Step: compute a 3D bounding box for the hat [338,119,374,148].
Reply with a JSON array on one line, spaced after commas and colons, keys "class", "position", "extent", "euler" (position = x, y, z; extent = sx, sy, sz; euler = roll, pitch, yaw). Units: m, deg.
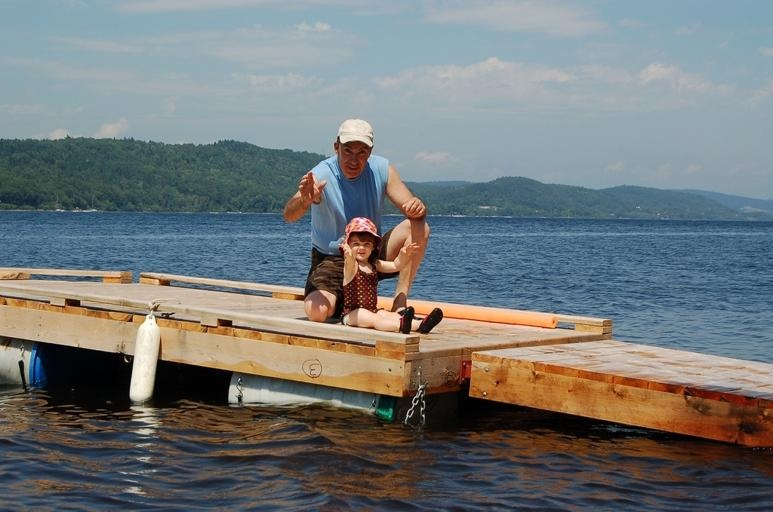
[{"class": "hat", "position": [-0.356, -1.350, 9.876], "extent": [0.375, 0.295, 0.229], "euler": [2, 14, 6]}]

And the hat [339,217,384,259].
[{"class": "hat", "position": [-0.267, -0.215, 10.087], "extent": [0.430, 0.251, 0.508], "euler": [-4, -29, 6]}]

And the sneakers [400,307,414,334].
[{"class": "sneakers", "position": [0.217, 0.703, 9.765], "extent": [0.133, 0.283, 0.106], "euler": [4, 1, -43]}]
